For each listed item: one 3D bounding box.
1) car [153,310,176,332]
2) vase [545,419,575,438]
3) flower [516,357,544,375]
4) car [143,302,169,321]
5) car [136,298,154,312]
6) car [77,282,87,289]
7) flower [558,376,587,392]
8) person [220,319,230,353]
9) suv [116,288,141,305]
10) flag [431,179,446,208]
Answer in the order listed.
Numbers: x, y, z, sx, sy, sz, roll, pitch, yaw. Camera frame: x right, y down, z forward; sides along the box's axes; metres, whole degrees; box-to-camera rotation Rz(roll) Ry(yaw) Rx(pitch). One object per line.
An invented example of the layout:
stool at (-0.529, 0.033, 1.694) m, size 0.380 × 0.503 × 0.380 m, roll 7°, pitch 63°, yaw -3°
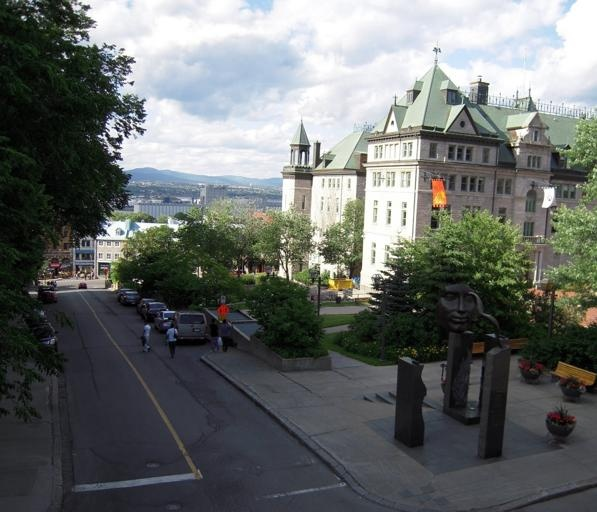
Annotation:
car at (-8.499, 4.179, 40.441) m, size 1.038 × 0.799 × 2.484 m, roll -1°, pitch 5°, yaw -15°
vase at (8.623, 5.691, 20.950) m, size 0.676 × 0.443 × 0.676 m, roll 1°, pitch -5°, yaw 10°
flower at (10.110, 4.791, 27.788) m, size 0.807 × 0.508 × 1.140 m, roll 2°, pitch 7°, yaw 5°
car at (-10.616, 4.064, 46.394) m, size 1.159 × 0.838 × 2.496 m, roll 0°, pitch 4°, yaw -16°
car at (-12.139, 3.969, 50.727) m, size 1.095 × 0.931 × 1.838 m, roll -1°, pitch 6°, yaw -19°
car at (-31.300, 4.326, 92.308) m, size 1.187 × 0.816 × 1.838 m, roll 0°, pitch 5°, yaw -16°
flower at (10.762, 4.951, 25.094) m, size 0.637 × 0.407 × 0.674 m, roll -2°, pitch 3°, yaw -23°
person at (-3.958, 4.219, 34.471) m, size 0.438 × 1.272 × 0.957 m, roll 7°, pitch -2°, yaw 1°
suv at (-16.158, 3.899, 60.474) m, size 1.431 × 1.031 × 3.068 m, roll 2°, pitch 4°, yaw -18°
flag at (12.671, -5.626, 57.464) m, size 1.405 × 2.752 × 2.031 m, roll 2°, pitch 7°, yaw 11°
